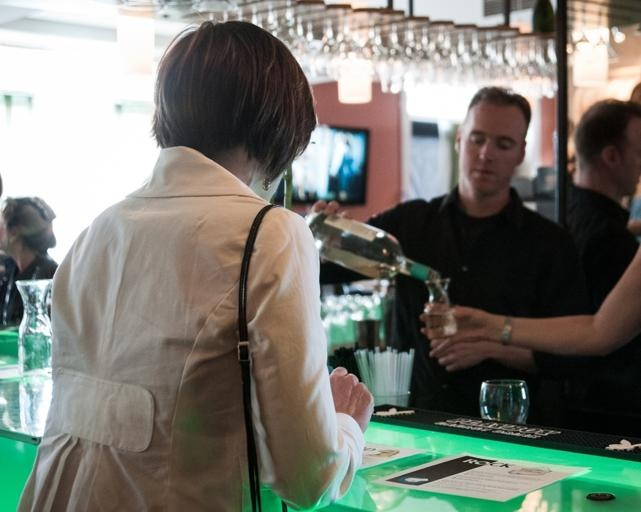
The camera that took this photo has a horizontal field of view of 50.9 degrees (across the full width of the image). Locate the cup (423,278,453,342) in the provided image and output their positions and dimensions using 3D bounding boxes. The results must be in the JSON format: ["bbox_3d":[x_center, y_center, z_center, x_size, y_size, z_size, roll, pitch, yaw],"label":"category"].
[{"bbox_3d":[0.399,0.164,2.233,0.096,0.225,0.296,-1,5,11],"label":"cup"}]

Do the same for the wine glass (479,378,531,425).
[{"bbox_3d":[0.525,0.408,1.936,0.120,0.148,0.125,0,-8,-1],"label":"wine glass"}]

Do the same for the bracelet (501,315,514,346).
[{"bbox_3d":[0.655,0.266,2.366,0.045,0.084,0.075,4,24,14],"label":"bracelet"}]
